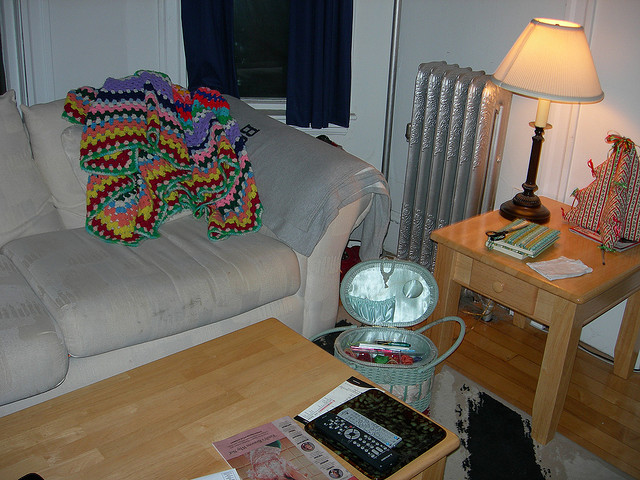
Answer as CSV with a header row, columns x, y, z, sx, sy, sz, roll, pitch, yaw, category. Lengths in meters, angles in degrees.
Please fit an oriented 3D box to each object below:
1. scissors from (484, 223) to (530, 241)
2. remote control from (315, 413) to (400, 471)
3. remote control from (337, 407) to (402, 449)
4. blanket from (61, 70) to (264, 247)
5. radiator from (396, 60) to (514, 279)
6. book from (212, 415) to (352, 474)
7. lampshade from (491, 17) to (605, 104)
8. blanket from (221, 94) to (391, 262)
x,y,z,sx,sy,sz,roll,pitch,yaw,category
0.799,-0.025,2.007,0.189,0.027,0.077,-15,33,-25,scissors
0.096,0.534,1.233,0.232,0.027,0.073,18,29,35,remote control
0.145,0.519,1.269,0.178,0.009,0.058,25,35,37,remote control
-0.809,-0.348,2.311,0.963,0.847,0.645,-17,35,-41,blanket
0.746,-0.365,2.768,0.509,1.214,0.240,23,34,34,radiator
-0.103,0.552,1.192,0.324,0.022,0.172,-5,24,-12,book
0.961,-0.756,1.929,0.432,0.318,0.204,13,27,27,lampshade
-0.163,-0.376,2.404,0.528,0.498,0.964,-32,56,-29,blanket
